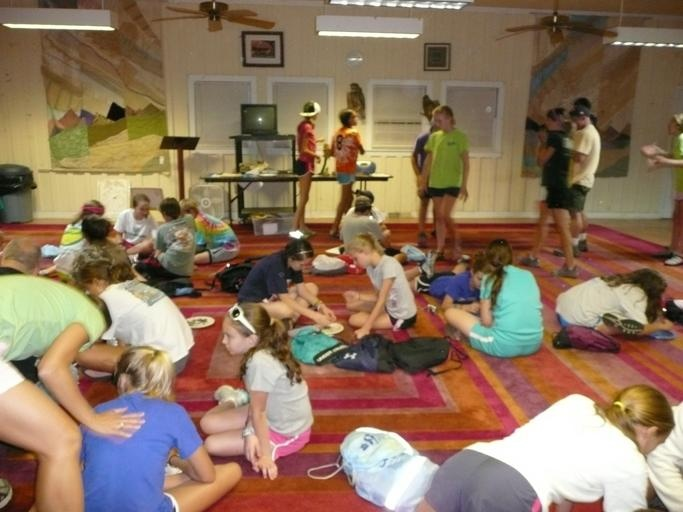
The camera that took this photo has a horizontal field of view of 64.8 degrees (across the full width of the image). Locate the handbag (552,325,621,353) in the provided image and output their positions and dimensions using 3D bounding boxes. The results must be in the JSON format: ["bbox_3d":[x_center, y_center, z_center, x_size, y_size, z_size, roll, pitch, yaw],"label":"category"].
[{"bbox_3d":[2.009,0.706,4.475,0.414,0.140,0.240,7,15,16],"label":"handbag"}]

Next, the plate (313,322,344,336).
[{"bbox_3d":[-0.081,0.633,4.624,0.148,0.023,0.144,-11,20,-33],"label":"plate"}]

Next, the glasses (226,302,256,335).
[{"bbox_3d":[-0.559,0.349,2.964,0.125,0.068,0.168,38,-9,36],"label":"glasses"}]

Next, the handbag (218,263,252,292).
[{"bbox_3d":[-1.120,0.228,5.694,0.387,0.133,0.299,-4,17,-6],"label":"handbag"}]

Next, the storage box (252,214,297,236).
[{"bbox_3d":[-1.105,-0.502,8.679,0.565,0.219,0.369,-2,6,-30],"label":"storage box"}]

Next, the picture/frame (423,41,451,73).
[{"bbox_3d":[1.661,-3.572,9.542,0.578,0.514,0.037,-1,10,-9],"label":"picture/frame"}]

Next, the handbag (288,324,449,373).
[{"bbox_3d":[0.212,0.759,4.158,0.859,0.142,0.471,2,6,-1],"label":"handbag"}]

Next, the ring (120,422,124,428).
[{"bbox_3d":[-0.979,0.758,2.396,0.018,0.022,0.008,-1,11,-4],"label":"ring"}]

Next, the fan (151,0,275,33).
[{"bbox_3d":[-2.041,-3.699,8.226,1.510,0.196,1.486,-8,12,-39],"label":"fan"}]

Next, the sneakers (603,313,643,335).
[{"bbox_3d":[2.337,0.581,4.475,0.345,0.122,0.143,17,22,34],"label":"sneakers"}]

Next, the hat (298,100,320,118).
[{"bbox_3d":[-0.493,-2.300,8.413,0.223,0.266,0.349,-2,10,-11],"label":"hat"}]

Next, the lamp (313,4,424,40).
[{"bbox_3d":[0.358,-3.428,7.844,1.566,0.298,0.986,1,12,-2],"label":"lamp"}]

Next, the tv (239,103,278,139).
[{"bbox_3d":[-1.344,-2.246,9.072,0.890,0.683,0.461,-1,11,-6],"label":"tv"}]
